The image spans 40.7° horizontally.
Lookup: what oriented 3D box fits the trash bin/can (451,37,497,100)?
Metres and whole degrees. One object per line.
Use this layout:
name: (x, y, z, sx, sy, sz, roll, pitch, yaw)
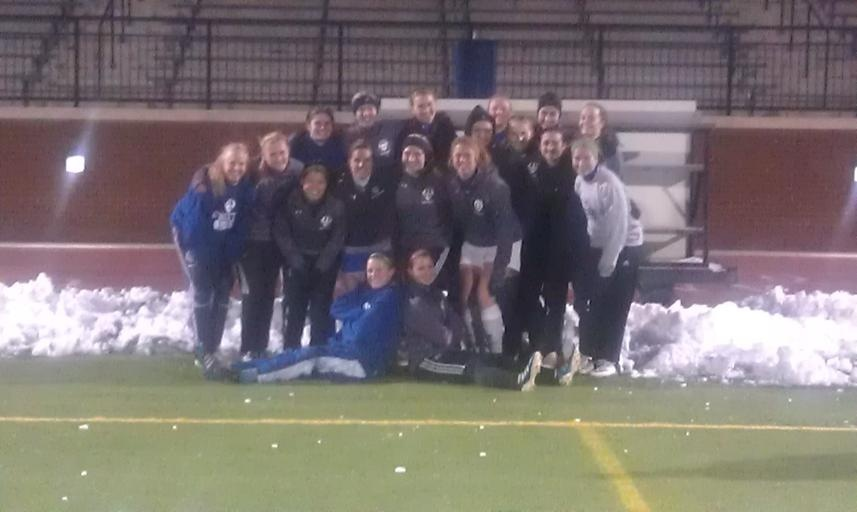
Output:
trash bin/can: (0.946, -3.778, 23.738, 0.982, 1.328, 0.817, -3, -8, 26)
